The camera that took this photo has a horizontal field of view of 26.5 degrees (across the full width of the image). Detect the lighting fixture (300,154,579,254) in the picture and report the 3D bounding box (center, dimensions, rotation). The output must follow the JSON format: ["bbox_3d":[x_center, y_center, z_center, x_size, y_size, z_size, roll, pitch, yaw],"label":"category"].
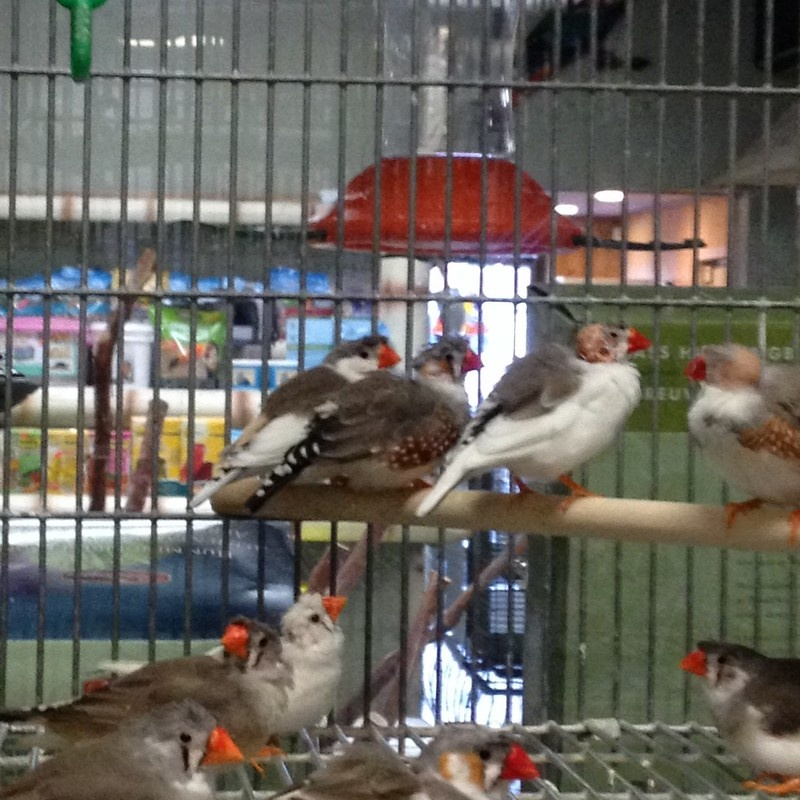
[{"bbox_3d":[0.106,-0.286,2.589,0.271,0.072,0.256,-1,2,-24],"label":"lighting fixture"}]
